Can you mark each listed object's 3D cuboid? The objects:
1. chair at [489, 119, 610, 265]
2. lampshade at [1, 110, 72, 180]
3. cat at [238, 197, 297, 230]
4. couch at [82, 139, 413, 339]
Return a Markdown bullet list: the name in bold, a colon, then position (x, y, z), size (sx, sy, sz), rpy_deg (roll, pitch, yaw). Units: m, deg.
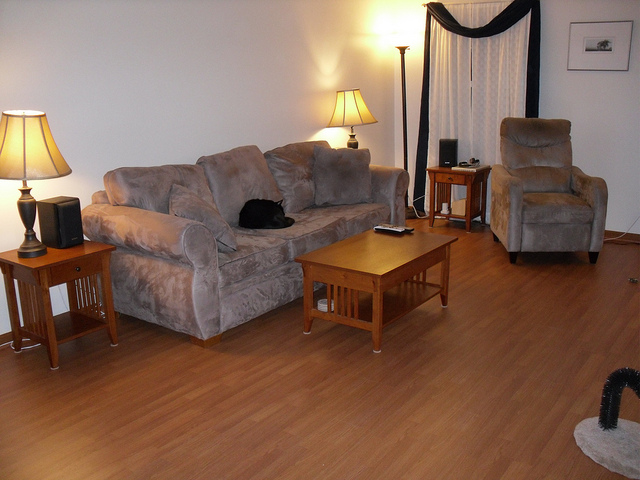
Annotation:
- **chair**: position (2.241, -0.522, 4.954), size (0.893, 1.349, 0.928), rpy_deg (-2, 16, 6)
- **lampshade**: position (-1.828, -0.580, 3.171), size (0.323, 0.470, 0.369), rpy_deg (14, 17, 30)
- **cat**: position (-0.470, -0.221, 4.191), size (0.370, 0.190, 0.274), rpy_deg (-1, 10, 0)
- **couch**: position (-0.538, -0.173, 4.200), size (0.991, 1.164, 2.378), rpy_deg (10, 20, 39)
